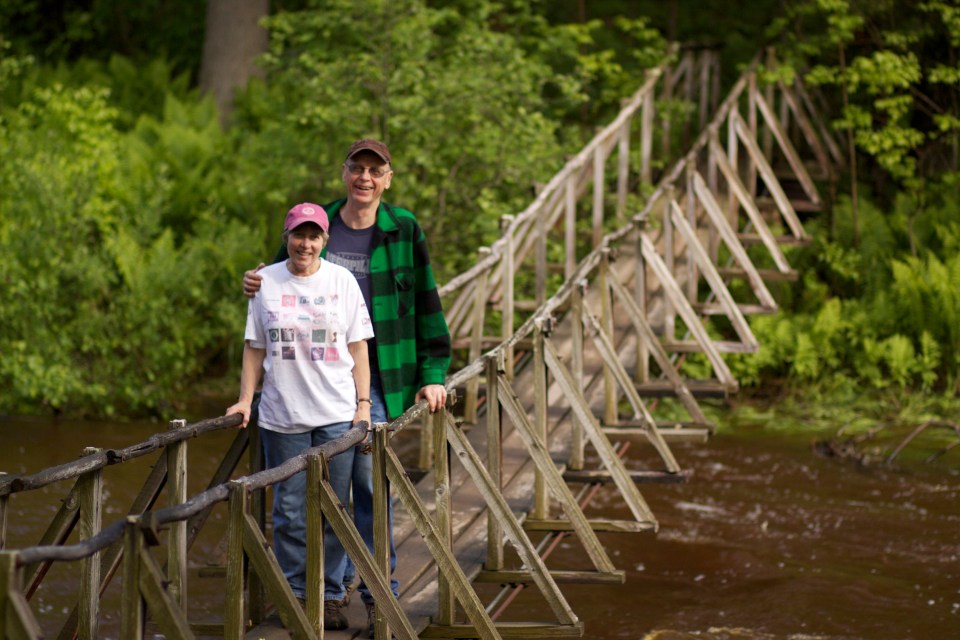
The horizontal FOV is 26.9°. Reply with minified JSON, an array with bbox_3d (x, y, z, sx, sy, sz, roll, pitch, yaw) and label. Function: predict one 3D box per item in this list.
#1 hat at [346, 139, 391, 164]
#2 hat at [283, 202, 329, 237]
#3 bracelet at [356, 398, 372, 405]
[{"bbox_3d":[-1.137,-1.739,20.787,0.455,0.230,0.237,3,4,-15],"label":"hat"},{"bbox_3d":[-1.746,-1.024,20.603,0.490,0.323,0.285,2,4,-22],"label":"hat"},{"bbox_3d":[-1.172,0.820,20.728,0.091,0.074,0.173,6,5,31],"label":"bracelet"}]
